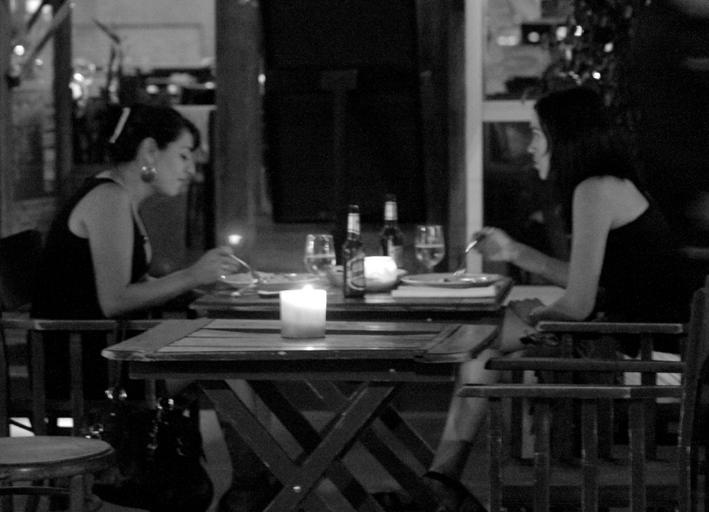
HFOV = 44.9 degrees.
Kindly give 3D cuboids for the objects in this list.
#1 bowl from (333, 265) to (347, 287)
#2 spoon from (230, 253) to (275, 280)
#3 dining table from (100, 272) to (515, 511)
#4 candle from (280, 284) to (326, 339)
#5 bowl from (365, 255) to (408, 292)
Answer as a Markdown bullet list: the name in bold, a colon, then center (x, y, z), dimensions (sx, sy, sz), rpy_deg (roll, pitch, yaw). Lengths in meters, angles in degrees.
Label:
- **bowl**: center (-0.063, 0.077, 3.323), dimensions (0.068, 0.075, 0.071), rpy_deg (0, -5, 0)
- **spoon**: center (-0.445, 0.043, 3.749), dimensions (0.191, 0.071, 0.042), rpy_deg (15, 33, 24)
- **dining table**: center (-0.096, 0.348, 2.518), dimensions (0.903, 0.427, 0.691), rpy_deg (0, 0, 7)
- **candle**: center (-0.131, 0.165, 2.448), dimensions (0.145, 0.149, 0.140), rpy_deg (0, 0, 8)
- **bowl**: center (0.102, 0.064, 3.228), dimensions (0.132, 0.085, 0.109), rpy_deg (22, 33, 39)
